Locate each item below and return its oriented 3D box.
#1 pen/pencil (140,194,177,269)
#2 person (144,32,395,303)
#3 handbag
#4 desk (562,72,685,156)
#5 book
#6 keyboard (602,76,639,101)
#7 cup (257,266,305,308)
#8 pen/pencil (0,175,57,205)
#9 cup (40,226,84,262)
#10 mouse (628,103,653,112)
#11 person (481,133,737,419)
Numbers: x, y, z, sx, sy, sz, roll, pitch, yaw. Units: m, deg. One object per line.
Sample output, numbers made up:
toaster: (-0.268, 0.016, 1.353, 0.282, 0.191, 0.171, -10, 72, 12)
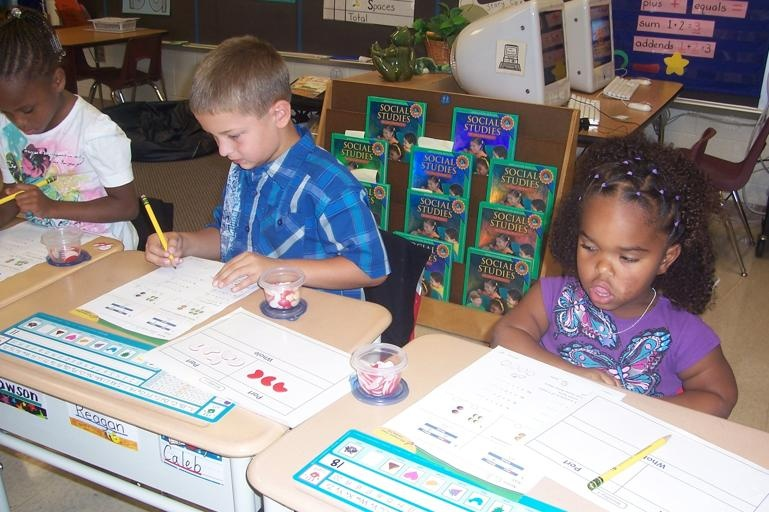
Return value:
pen/pencil: (-0.695, -0.088, 1.732, 0.023, 0.218, 0.024, -23, 1, 44)
person: (-0.350, -0.256, 1.695, 0.518, 0.717, 0.701, -21, 34, -32)
handbag: (-1.720, -1.010, 4.284, 0.891, 0.264, 0.870, 3, 20, -2)
desk: (1.393, -0.868, 3.548, 0.964, 0.470, 0.410, -12, 6, -5)
book: (0.310, -0.266, 2.452, 1.085, 0.761, 0.384, 16, 26, 16)
keyboard: (1.551, -1.105, 3.684, 0.150, 0.029, 0.324, 22, 42, 28)
cup: (-0.283, 0.093, 1.511, 0.146, 0.083, 0.134, 3, 14, -1)
pen/pencil: (-1.182, -0.220, 1.884, 0.204, 0.022, 0.026, -35, -5, -26)
cup: (-0.974, -0.023, 1.718, 0.121, 0.076, 0.123, -2, 14, 0)
mouse: (1.549, -0.907, 3.380, 0.107, 0.034, 0.076, 18, 32, 37)
person: (0.695, 0.043, 1.553, 0.674, 0.661, 0.393, 19, 36, 39)
